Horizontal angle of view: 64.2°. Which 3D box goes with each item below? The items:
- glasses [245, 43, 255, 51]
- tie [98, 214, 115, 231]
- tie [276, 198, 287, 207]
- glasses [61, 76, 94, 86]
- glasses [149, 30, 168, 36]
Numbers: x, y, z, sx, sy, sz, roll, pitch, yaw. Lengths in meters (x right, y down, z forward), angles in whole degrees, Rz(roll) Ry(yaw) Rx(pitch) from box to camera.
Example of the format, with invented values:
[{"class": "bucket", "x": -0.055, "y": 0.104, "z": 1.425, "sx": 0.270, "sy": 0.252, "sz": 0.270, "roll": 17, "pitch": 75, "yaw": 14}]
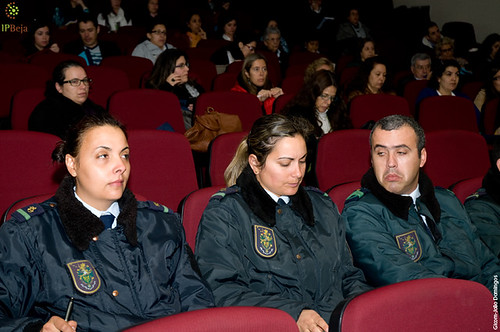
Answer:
[{"class": "glasses", "x": 0.005, "y": -2.080, "z": 6.952, "sx": 0.135, "sy": 0.045, "sz": 0.137, "roll": 32, "pitch": 18, "yaw": 34}, {"class": "tie", "x": -0.758, "y": 0.303, "z": 2.128, "sx": 0.070, "sy": 0.075, "sz": 0.021, "roll": 4, "pitch": -23, "yaw": -25}, {"class": "tie", "x": 0.193, "y": 0.221, "z": 2.413, "sx": 0.054, "sy": 0.038, "sz": 0.014, "roll": 22, "pitch": -22, "yaw": -12}, {"class": "glasses", "x": -1.760, "y": -0.852, "z": 4.016, "sx": 0.161, "sy": 0.047, "sz": 0.164, "roll": -1, "pitch": 3, "yaw": 38}, {"class": "glasses", "x": -1.541, "y": -2.238, "z": 6.673, "sx": 0.267, "sy": 0.093, "sz": 0.117, "roll": -5, "pitch": 19, "yaw": -22}]
